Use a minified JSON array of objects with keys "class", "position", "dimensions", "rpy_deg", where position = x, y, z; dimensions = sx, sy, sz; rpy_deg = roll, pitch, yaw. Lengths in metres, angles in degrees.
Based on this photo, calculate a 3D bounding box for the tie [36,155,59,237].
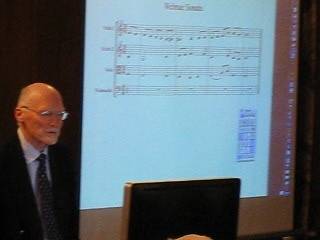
[{"class":"tie","position":[-0.699,0.505,2.386],"dimensions":[0.082,0.578,0.060],"rpy_deg":[3,-12,-38]}]
